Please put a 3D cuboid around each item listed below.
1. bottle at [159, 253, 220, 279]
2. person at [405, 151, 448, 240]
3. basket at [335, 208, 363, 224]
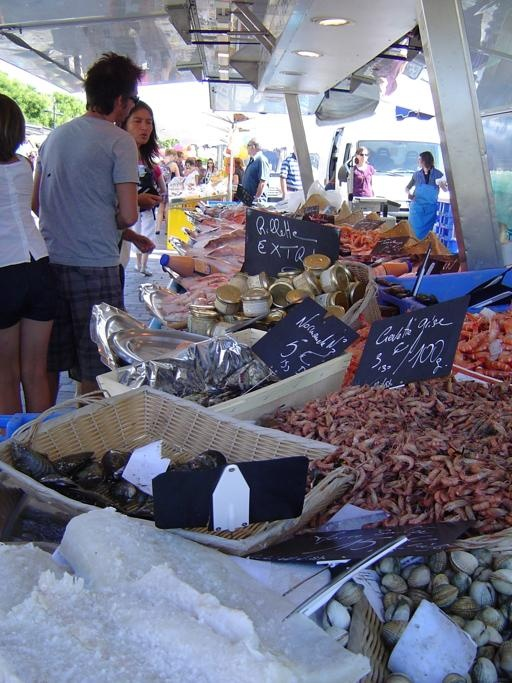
[{"bbox_3d":[-0.316,-0.352,2.282,0.234,0.109,0.224,-1,13,0],"label":"bottle"},{"bbox_3d":[2.457,-2.109,7.058,0.518,1.220,0.864,3,15,16],"label":"person"},{"bbox_3d":[0.741,-0.991,3.948,0.134,0.140,0.349,-5,11,1],"label":"basket"}]
